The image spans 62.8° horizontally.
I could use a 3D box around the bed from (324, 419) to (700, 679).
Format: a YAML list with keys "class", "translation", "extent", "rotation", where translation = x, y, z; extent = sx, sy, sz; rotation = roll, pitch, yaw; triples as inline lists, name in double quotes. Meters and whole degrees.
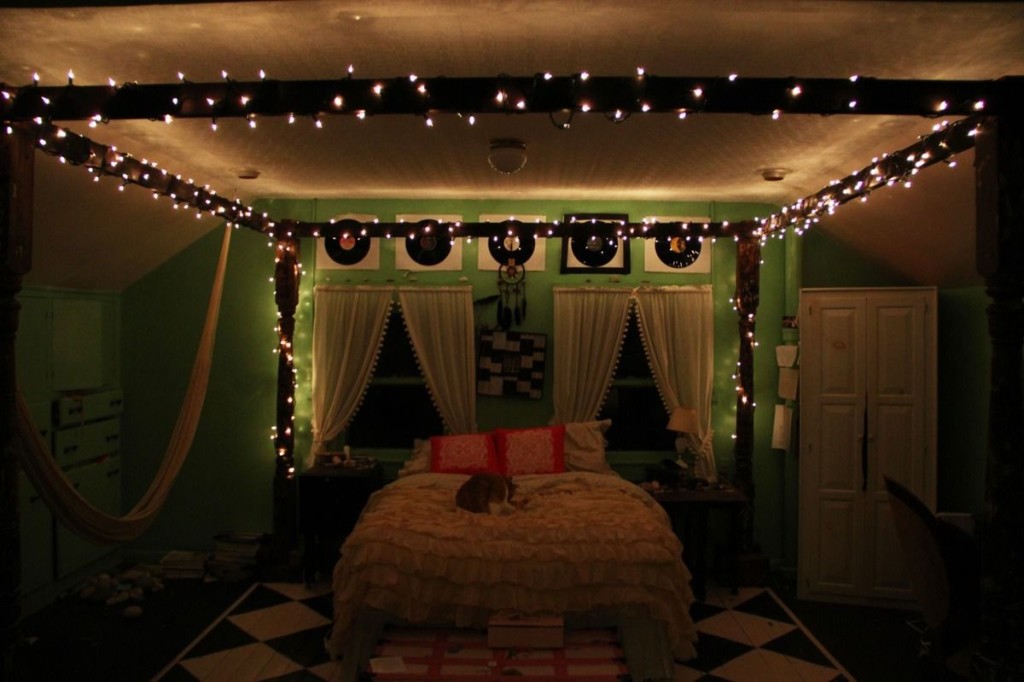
- class: "bed"
  translation: [0.005, 1.944, 6.801]
  extent: [2.775, 1.085, 1.348]
  rotation: [-1, 14, -7]

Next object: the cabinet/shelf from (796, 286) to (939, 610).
- class: "cabinet/shelf"
  translation: [3.127, 0.904, 7.445]
  extent: [1.161, 2.759, 0.648]
  rotation: [2, 13, 9]

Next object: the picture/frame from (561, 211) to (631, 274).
- class: "picture/frame"
  translation: [0.799, -0.921, 7.989]
  extent: [0.538, 0.505, 0.146]
  rotation: [1, 2, 1]

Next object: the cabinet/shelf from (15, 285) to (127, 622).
- class: "cabinet/shelf"
  translation: [-4.087, 0.866, 8.068]
  extent: [1.453, 2.649, 0.854]
  rotation: [-6, -5, 17]

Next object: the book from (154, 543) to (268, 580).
- class: "book"
  translation: [-2.895, 2.098, 8.040]
  extent: [0.495, 0.125, 0.498]
  rotation: [1, 0, 7]

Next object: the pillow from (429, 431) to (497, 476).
- class: "pillow"
  translation: [-0.454, 1.022, 7.768]
  extent: [0.394, 0.120, 0.384]
  rotation: [-1, 36, -1]

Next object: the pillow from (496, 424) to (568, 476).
- class: "pillow"
  translation: [0.177, 1.090, 7.823]
  extent: [0.652, 0.222, 0.752]
  rotation: [-6, 42, 2]

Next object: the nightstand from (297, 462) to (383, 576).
- class: "nightstand"
  translation: [-1.746, 1.639, 7.975]
  extent: [0.694, 0.843, 0.708]
  rotation: [4, -3, -27]

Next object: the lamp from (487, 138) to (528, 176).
- class: "lamp"
  translation: [-0.027, -1.481, 6.657]
  extent: [0.315, 0.274, 0.318]
  rotation: [0, 14, -1]

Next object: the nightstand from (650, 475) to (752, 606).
- class: "nightstand"
  translation: [1.790, 1.826, 7.749]
  extent: [0.935, 0.967, 0.966]
  rotation: [-1, -7, 5]

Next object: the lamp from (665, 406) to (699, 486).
- class: "lamp"
  translation: [1.637, 0.916, 8.051]
  extent: [0.355, 0.587, 0.364]
  rotation: [7, 4, 40]
